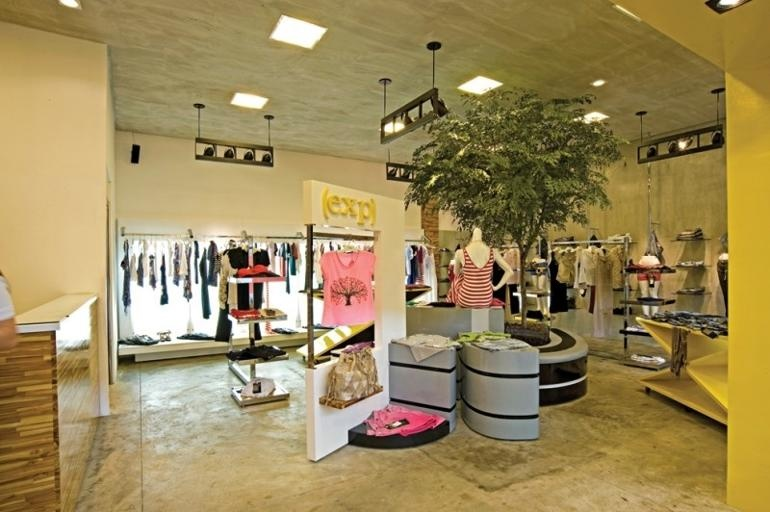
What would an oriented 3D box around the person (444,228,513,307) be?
[{"bbox_3d":[1.375,0.177,7.729,0.879,1.178,0.505,0,14,6],"label":"person"}]
